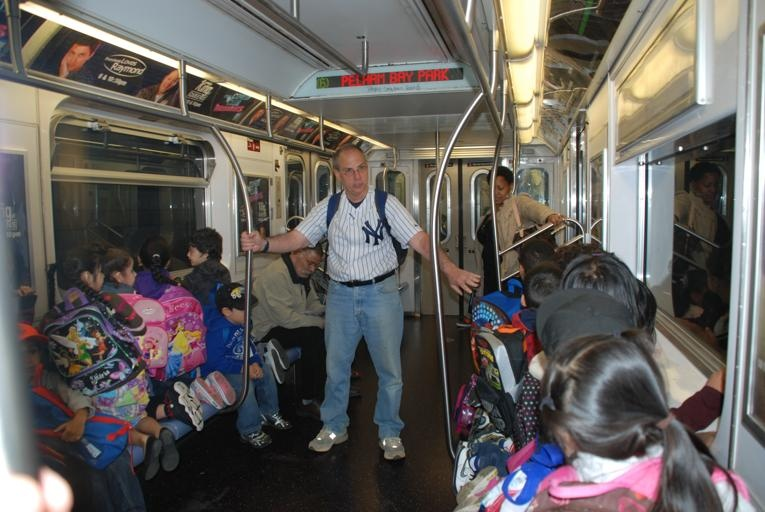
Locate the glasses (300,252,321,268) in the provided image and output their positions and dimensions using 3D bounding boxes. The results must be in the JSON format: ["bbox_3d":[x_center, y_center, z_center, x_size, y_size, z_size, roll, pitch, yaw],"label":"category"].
[{"bbox_3d":[-0.766,0.024,5.428,0.140,0.153,0.183,2,9,-37],"label":"glasses"}]

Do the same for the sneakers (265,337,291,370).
[{"bbox_3d":[-0.961,0.902,4.784,0.130,0.352,0.135,-37,8,-29],"label":"sneakers"}]

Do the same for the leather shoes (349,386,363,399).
[{"bbox_3d":[-0.290,1.451,5.488,0.109,0.070,0.112,2,2,9],"label":"leather shoes"}]

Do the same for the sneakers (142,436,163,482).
[{"bbox_3d":[-1.696,1.449,3.707,0.125,0.312,0.121,10,7,38],"label":"sneakers"}]

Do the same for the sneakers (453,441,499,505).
[{"bbox_3d":[0.522,1.165,2.815,0.158,0.224,0.484,0,-15,10],"label":"sneakers"}]

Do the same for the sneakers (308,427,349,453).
[{"bbox_3d":[-0.460,1.573,4.441,0.140,0.149,0.372,-3,-5,39],"label":"sneakers"}]

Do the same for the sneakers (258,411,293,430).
[{"bbox_3d":[-0.998,1.548,4.855,0.331,0.153,0.125,5,6,12],"label":"sneakers"}]

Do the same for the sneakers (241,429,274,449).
[{"bbox_3d":[-1.103,1.597,4.486,0.258,0.122,0.121,0,6,21],"label":"sneakers"}]

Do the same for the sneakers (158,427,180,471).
[{"bbox_3d":[-1.577,1.435,3.811,0.141,0.329,0.131,-13,11,-40],"label":"sneakers"}]

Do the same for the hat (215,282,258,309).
[{"bbox_3d":[-1.297,0.347,4.545,0.313,0.170,0.233,-3,11,0],"label":"hat"}]

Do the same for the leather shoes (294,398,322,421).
[{"bbox_3d":[-0.726,1.506,5.043,0.248,0.104,0.144,1,6,34],"label":"leather shoes"}]
